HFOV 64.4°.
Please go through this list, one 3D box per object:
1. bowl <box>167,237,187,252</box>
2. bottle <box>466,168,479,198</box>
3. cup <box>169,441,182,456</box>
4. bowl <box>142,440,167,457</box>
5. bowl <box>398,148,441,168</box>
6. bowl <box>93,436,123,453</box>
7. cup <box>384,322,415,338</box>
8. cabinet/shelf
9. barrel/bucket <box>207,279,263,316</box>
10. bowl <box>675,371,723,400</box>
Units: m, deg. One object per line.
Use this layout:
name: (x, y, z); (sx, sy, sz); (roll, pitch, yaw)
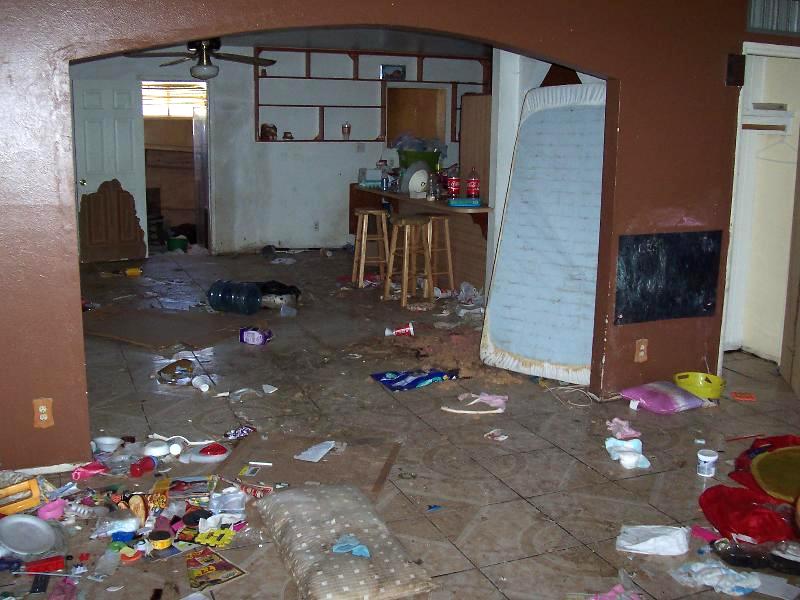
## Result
bowl: (-3.462, -0.876, 9.977); (0.303, 0.162, 0.266); (12, 15, 19)
bottle: (0.805, -1.281, 6.973); (0.151, 0.314, 0.284); (1, 12, 5)
cup: (-1.401, 0.930, 3.964); (0.075, 0.059, 0.088); (-1, 11, -8)
bowl: (-1.507, 0.923, 3.931); (0.147, 0.071, 0.139); (0, 10, 0)
bowl: (0.281, -1.757, 7.899); (0.476, 0.238, 0.461); (0, 10, 0)
bowl: (-1.843, 0.897, 3.993); (0.181, 0.071, 0.137); (2, 10, 11)
cup: (-0.005, 0.288, 6.137); (0.242, 0.092, 0.130); (-3, 7, 2)
cabinet/shelf: (-0.598, -3.145, 9.780); (3.645, 0.957, 0.382); (-3, 26, -16)
barrel/bucket: (-1.720, -0.061, 7.025); (0.824, 0.359, 0.438); (0, 21, 10)
bowl: (2.251, 0.639, 4.828); (0.243, 0.090, 0.286); (-11, 18, -43)
